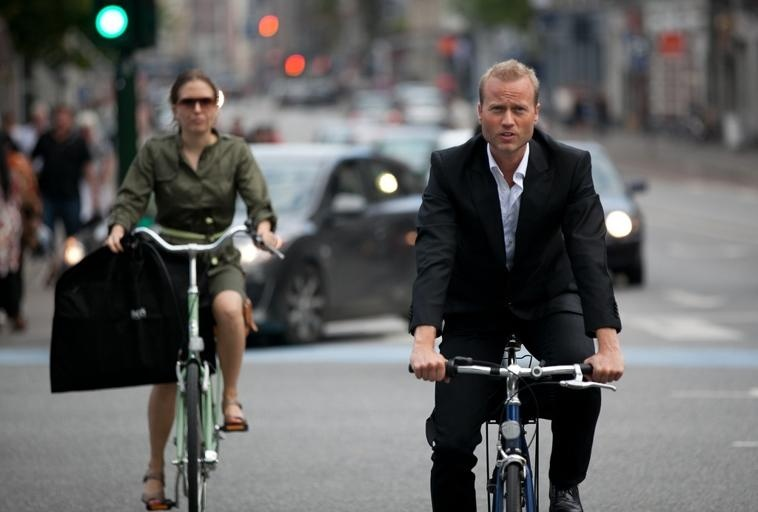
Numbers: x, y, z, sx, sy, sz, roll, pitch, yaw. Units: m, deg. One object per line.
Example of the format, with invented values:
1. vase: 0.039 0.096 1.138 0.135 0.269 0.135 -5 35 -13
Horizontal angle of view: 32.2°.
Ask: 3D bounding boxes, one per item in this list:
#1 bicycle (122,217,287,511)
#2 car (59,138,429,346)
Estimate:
1. bicycle: -1.318 0.854 9.651 0.742 2.201 0.845 -8 11 -39
2. car: -0.775 -0.165 15.207 2.036 1.726 3.724 -1 -2 28
